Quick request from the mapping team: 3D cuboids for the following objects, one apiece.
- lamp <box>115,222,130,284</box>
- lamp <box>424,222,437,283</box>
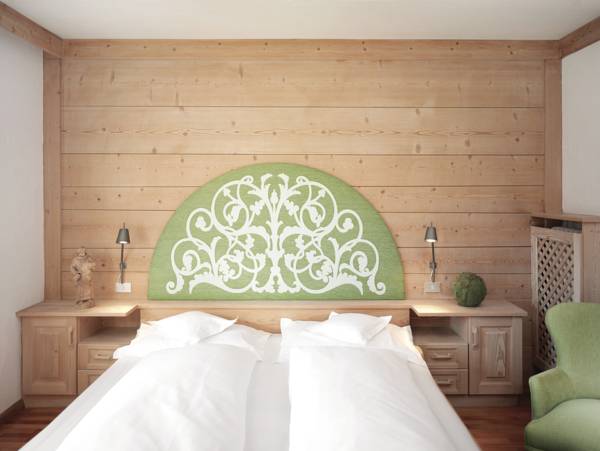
[{"bbox_3d":[-1.625,0.262,4.973,0.119,0.564,0.225,0,-3,-17],"label":"lamp"},{"bbox_3d":[1.205,0.251,4.974,0.118,0.564,0.204,-1,-2,11],"label":"lamp"}]
